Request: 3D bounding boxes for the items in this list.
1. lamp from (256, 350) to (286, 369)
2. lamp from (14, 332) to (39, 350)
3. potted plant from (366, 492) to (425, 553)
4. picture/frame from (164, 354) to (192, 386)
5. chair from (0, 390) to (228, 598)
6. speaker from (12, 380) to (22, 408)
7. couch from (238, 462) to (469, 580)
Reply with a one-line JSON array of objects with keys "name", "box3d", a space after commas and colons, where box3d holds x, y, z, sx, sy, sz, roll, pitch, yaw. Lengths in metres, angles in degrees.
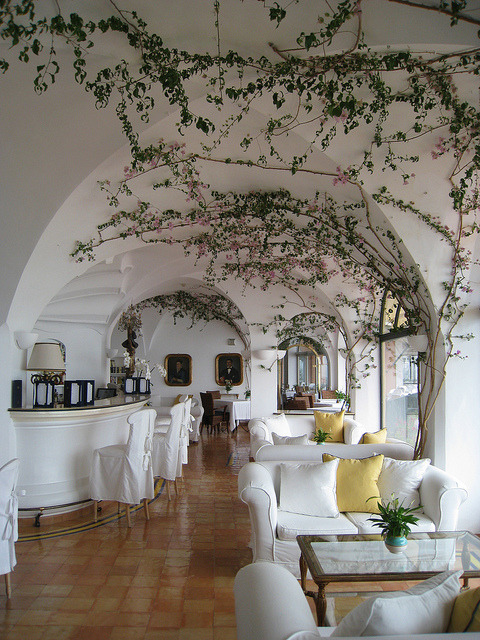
[{"name": "lamp", "box3d": [0.475, 0.687, 7.884, 0.381, 0.167, 0.381, -4, -7, 24]}, {"name": "lamp", "box3d": [-2.129, 0.212, 4.651, 0.177, 0.131, 0.174, 3, -5, -21]}, {"name": "potted plant", "box3d": [0.908, 1.184, 2.740, 0.311, 0.301, 0.285, -4, -10, -6]}, {"name": "picture/frame", "box3d": [-1.705, 1.389, 12.760, 0.820, 0.970, 0.102, 1, -7, -6]}, {"name": "chair", "box3d": [-1.433, 1.480, 4.902, 1.190, 1.161, 2.292, -2, -6, 18]}, {"name": "speaker", "box3d": [-2.226, 0.729, 4.653, 0.073, 0.270, 0.192, 0, -6, -3]}, {"name": "couch", "box3d": [0.746, 1.322, 3.126, 0.998, 0.446, 0.510, 1, -19, -4]}]
